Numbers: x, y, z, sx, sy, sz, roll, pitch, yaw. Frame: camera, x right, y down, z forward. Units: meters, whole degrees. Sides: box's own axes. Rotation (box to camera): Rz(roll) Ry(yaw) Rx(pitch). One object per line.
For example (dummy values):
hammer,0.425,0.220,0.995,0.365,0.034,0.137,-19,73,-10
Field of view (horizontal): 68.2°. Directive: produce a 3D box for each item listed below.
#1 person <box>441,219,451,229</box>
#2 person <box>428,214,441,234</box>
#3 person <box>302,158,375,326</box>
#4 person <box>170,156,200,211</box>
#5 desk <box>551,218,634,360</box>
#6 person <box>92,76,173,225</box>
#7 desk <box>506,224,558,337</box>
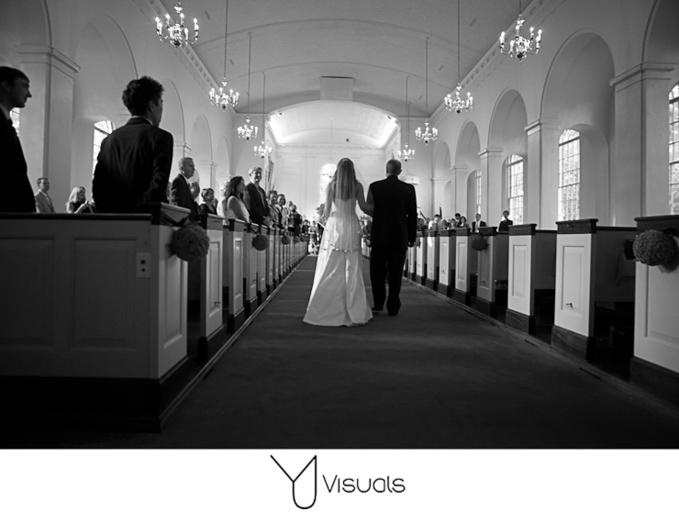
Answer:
person,3.687,-1.043,17.355,0.182,0.280,0.803,10,17,4
person,2.984,-0.963,15.629,0.198,0.305,0.718,-24,5,13
person,0.003,-0.173,5.944,0.818,1.892,0.801,1,5,-12
person,-1.966,-0.856,6.336,0.329,0.720,0.725,1,6,-19
desk,2.488,0.349,4.897,0.358,1.233,1.139,0,2,7
person,-1.535,-0.822,3.782,0.595,1.020,0.338,3,4,12
desk,2.188,0.294,5.672,0.916,1.094,0.386,0,7,-16
